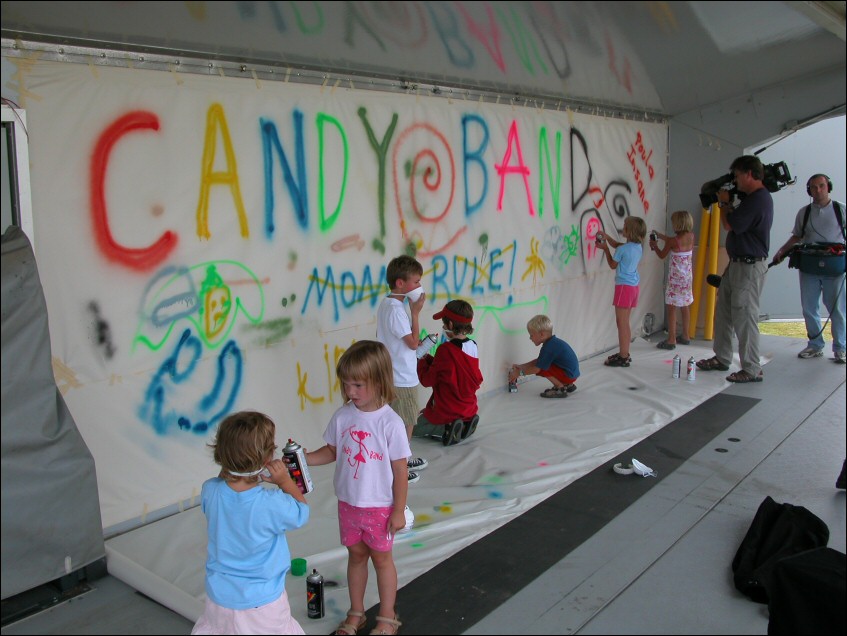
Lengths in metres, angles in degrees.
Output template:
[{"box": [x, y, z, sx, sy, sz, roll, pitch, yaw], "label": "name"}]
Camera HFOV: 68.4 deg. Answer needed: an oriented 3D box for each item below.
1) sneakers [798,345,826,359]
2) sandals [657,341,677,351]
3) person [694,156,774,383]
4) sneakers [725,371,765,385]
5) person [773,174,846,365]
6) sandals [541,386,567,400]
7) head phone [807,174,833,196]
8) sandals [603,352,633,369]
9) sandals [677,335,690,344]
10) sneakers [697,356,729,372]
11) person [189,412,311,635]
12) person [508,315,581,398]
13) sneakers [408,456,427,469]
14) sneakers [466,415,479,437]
[{"box": [4.759, 0.415, 7.662, 0.354, 0.186, 0.136, 0, 4, 3], "label": "sneakers"}, {"box": [3.193, 0.356, 8.177, 0.094, 0.113, 0.244, -6, 10, -18], "label": "sandals"}, {"box": [3.496, -0.528, 6.921, 0.453, 2.460, 0.715, -5, 4, -11], "label": "person"}, {"box": [3.548, 0.654, 6.850, 0.276, 0.132, 0.171, 2, 7, 13], "label": "sneakers"}, {"box": [4.613, -0.587, 7.362, 0.636, 2.165, 0.669, -5, 4, -11], "label": "person"}, {"box": [1.370, 0.784, 6.521, 0.237, 0.116, 0.115, 2, 8, -2], "label": "sandals"}, {"box": [4.535, -1.565, 7.148, 0.260, 0.288, 0.296, -2, -3, 28], "label": "head phone"}, {"box": [2.360, 0.507, 7.539, 0.263, 0.138, 0.158, 1, 10, -5], "label": "sandals"}, {"box": [3.526, 0.298, 8.453, 0.076, 0.091, 0.201, -3, -1, -4], "label": "sandals"}, {"box": [3.389, 0.545, 7.319, 0.379, 0.185, 0.134, 5, 9, 23], "label": "sneakers"}, {"box": [-0.802, 0.969, 2.840, 0.537, 1.102, 0.265, -6, 4, -19], "label": "person"}, {"box": [1.327, 0.371, 6.778, 0.854, 1.032, 0.634, 3, 11, 22], "label": "person"}, {"box": [-0.045, 1.174, 5.001, 0.060, 0.077, 0.166, 1, -7, -32], "label": "sneakers"}, {"box": [0.440, 0.956, 5.573, 0.073, 0.246, 0.096, 6, 26, -16], "label": "sneakers"}]
